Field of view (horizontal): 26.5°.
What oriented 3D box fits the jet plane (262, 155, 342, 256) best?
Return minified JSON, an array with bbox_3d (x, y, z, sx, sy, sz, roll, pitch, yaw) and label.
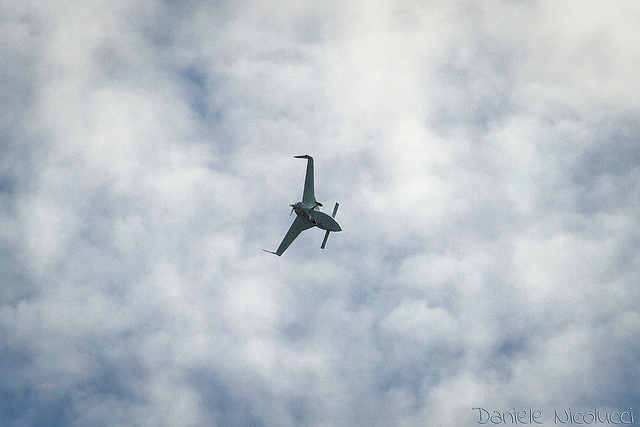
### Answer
[{"bbox_3d":[-2.586,0.922,304.249,16.959,4.050,23.837,30,-74,25],"label":"jet plane"}]
